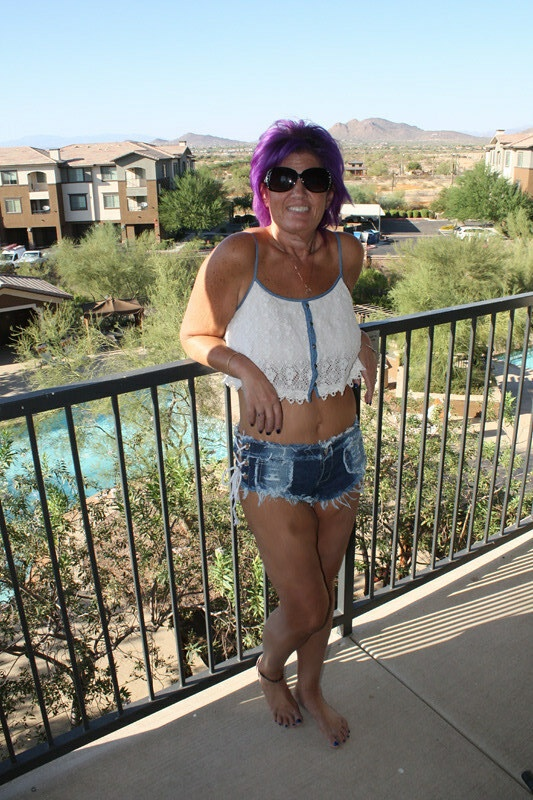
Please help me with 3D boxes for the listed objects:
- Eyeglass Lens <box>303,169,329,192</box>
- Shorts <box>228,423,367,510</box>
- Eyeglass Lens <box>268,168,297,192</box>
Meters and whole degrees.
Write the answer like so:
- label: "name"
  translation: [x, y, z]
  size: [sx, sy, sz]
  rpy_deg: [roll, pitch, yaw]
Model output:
- label: "Eyeglass Lens"
  translation: [0.104, -0.461, 1.138]
  size: [0.055, 0.025, 0.054]
  rpy_deg: [-7, 13, -40]
- label: "Shorts"
  translation: [0.074, 0.094, 1.145]
  size: [0.255, 0.148, 0.177]
  rpy_deg: [-1, -4, -30]
- label: "Eyeglass Lens"
  translation: [0.034, -0.460, 1.121]
  size: [0.065, 0.053, 0.023]
  rpy_deg: [2, 14, -1]
